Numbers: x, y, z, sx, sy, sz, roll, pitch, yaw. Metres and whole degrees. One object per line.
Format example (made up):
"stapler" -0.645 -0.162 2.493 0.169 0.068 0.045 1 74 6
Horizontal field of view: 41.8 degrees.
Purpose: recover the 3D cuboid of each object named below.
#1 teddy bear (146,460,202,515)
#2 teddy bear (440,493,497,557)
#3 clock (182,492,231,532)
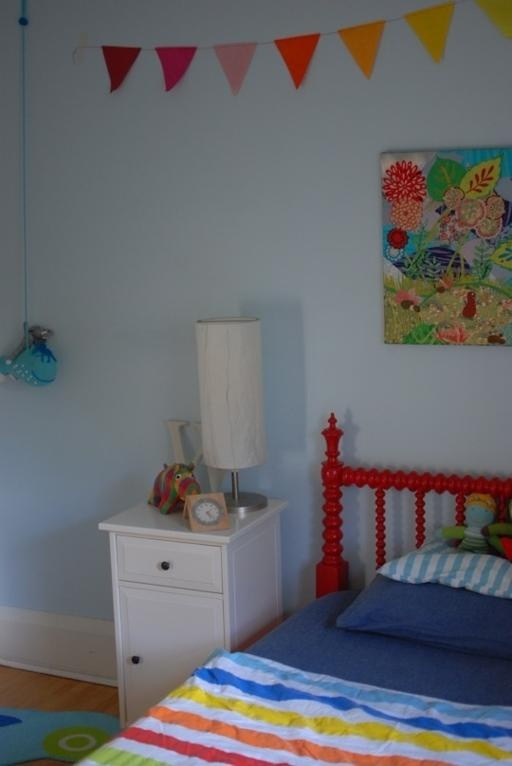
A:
"teddy bear" -0.256 0.332 2.130 0.139 0.148 0.227 4 -3 -34
"teddy bear" 0.608 0.389 1.825 0.077 0.172 0.182 24 -22 -28
"clock" -0.132 0.358 1.871 0.107 0.085 0.104 0 -5 -8
